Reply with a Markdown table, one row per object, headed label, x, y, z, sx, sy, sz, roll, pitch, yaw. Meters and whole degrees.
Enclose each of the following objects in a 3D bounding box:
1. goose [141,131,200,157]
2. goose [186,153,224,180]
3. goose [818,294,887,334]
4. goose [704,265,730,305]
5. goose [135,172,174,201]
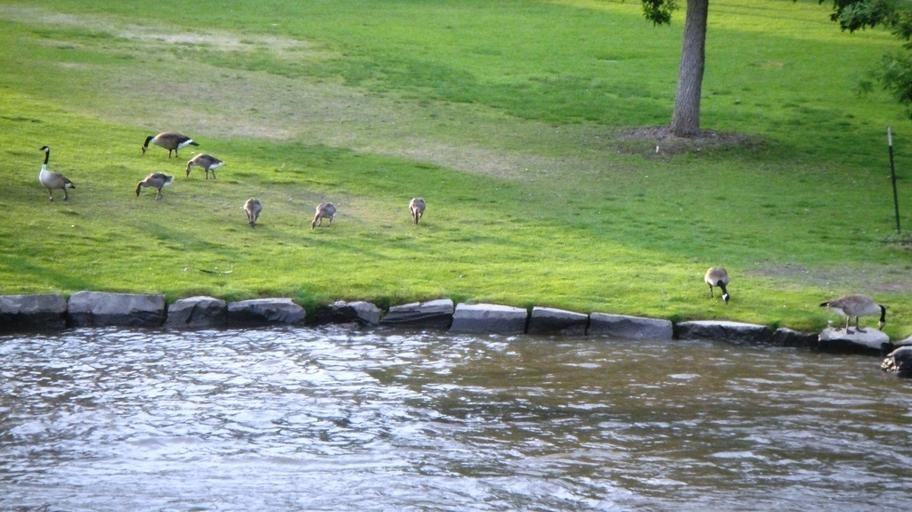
| label | x | y | z | sx | sy | sz | roll | pitch | yaw |
| --- | --- | --- | --- | --- | --- | --- | --- | --- | --- |
| goose | -12.546 | -4.839 | 78.813 | 1.663 | 1.045 | 2.245 | 15 | 17 | 32 |
| goose | -10.731 | -3.808 | 77.058 | 1.530 | 1.105 | 1.496 | 3 | 15 | -9 |
| goose | 15.535 | 2.383 | 70.109 | 2.039 | 1.564 | 2.713 | 0 | 1 | 21 |
| goose | 10.324 | 1.152 | 71.014 | 1.102 | 1.316 | 1.293 | 9 | 16 | 4 |
| goose | -12.620 | -2.906 | 75.311 | 1.480 | 1.085 | 1.259 | 4 | 15 | -7 |
